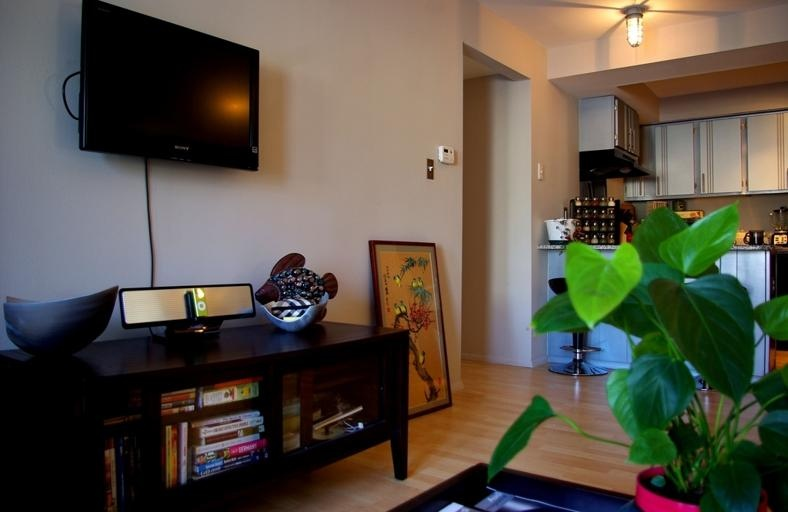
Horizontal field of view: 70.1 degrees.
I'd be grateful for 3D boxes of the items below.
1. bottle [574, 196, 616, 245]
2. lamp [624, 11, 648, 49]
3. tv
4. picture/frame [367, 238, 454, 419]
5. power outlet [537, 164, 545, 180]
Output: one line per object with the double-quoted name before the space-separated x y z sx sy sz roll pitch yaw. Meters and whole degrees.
"bottle" 1.996 -0.349 5.591 0.450 0.450 0.153 0 -1 3
"lamp" 1.963 -1.861 4.607 0.150 0.262 0.161 5 15 36
"tv" -1.076 -0.785 2.630 0.907 0.687 0.120 -1 1 -41
"picture/frame" 0.091 0.454 3.530 0.091 1.460 1.099 -7 -5 30
"power outlet" 1.387 -0.803 5.341 0.021 0.215 0.159 -2 -2 26
